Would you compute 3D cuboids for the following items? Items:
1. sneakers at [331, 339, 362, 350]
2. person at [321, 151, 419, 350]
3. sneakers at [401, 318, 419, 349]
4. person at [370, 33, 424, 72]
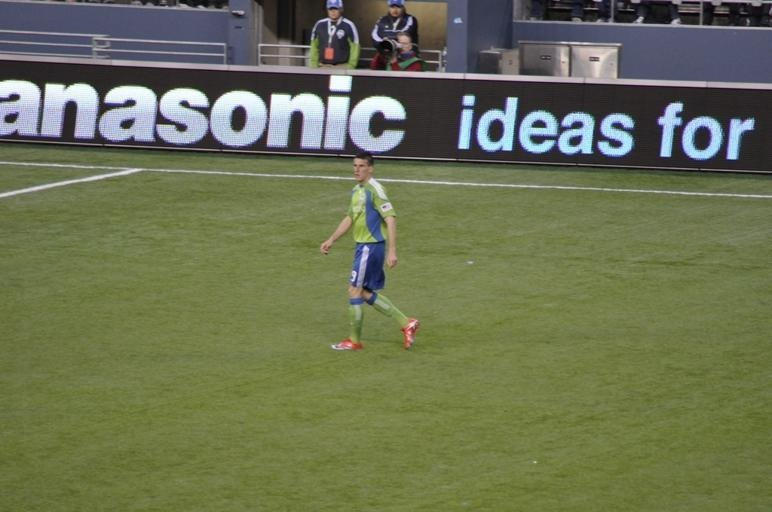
[{"bbox_3d":[-0.532,1.246,21.636,0.344,0.107,0.165,3,-4,0],"label":"sneakers"},{"bbox_3d":[-0.194,-0.035,21.528,1.309,2.735,0.673,2,10,0],"label":"person"},{"bbox_3d":[0.340,1.077,21.690,0.247,0.434,0.172,3,16,-9],"label":"sneakers"},{"bbox_3d":[0.294,-4.025,30.684,0.854,0.742,1.223,-4,10,-32],"label":"person"}]
